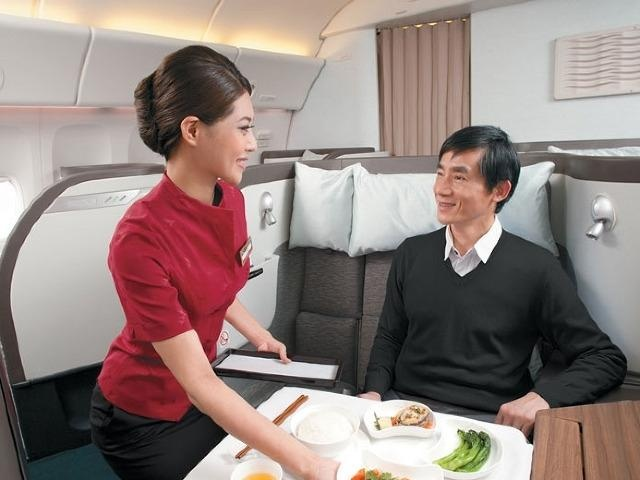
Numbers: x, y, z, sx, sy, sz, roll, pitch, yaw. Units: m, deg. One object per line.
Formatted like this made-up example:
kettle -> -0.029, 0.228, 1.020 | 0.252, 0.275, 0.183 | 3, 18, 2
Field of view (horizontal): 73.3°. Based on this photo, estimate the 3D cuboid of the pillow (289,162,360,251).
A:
pillow -> 0.025, -0.147, 2.236 | 0.355, 0.442, 0.179 | 6, 13, 13

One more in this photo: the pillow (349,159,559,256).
pillow -> 0.594, -0.132, 2.039 | 0.956, 0.473, 0.169 | -1, -13, 15
